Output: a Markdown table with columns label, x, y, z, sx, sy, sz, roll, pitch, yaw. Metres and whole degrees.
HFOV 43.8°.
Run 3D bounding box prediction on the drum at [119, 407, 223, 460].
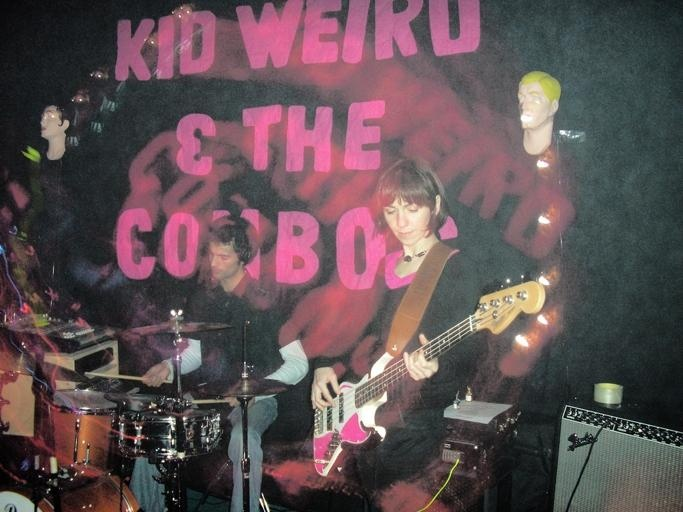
| label | x | y | z | sx | sy | sz | roll | pitch | yaw |
| --- | --- | --- | --- | --- | --- | --- | --- | --- | --- |
| drum | -1.269 | 1.252 | 5.977 | 0.732 | 0.293 | 0.760 | 3 | -8 | 0 |

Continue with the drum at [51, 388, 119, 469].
| label | x | y | z | sx | sy | sz | roll | pitch | yaw |
| --- | --- | --- | --- | --- | --- | --- | --- | --- | --- |
| drum | -1.797 | 1.204 | 5.942 | 0.439 | 0.551 | 0.486 | 0 | -9 | 34 |
